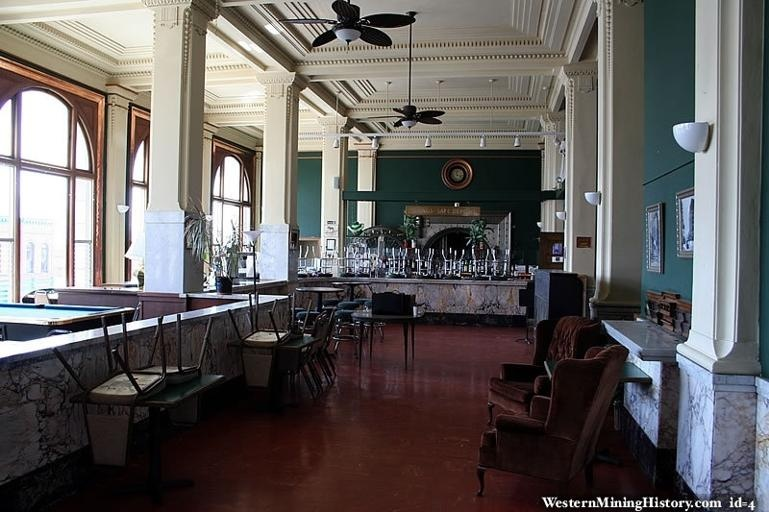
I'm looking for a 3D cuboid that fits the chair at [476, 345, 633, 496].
[{"bbox_3d":[1.611,1.549,5.424,1.306,1.409,1.404,4,-4,-31],"label":"chair"}]

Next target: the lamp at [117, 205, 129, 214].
[{"bbox_3d":[-5.921,-1.072,12.582,0.346,0.142,0.356,1,-2,-10],"label":"lamp"}]

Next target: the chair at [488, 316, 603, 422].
[{"bbox_3d":[1.804,1.368,6.329,1.113,1.352,1.023,0,-3,-3],"label":"chair"}]

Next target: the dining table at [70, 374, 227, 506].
[{"bbox_3d":[-1.999,1.591,5.063,0.812,1.038,1.480,1,-2,-1],"label":"dining table"}]

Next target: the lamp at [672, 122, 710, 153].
[{"bbox_3d":[2.657,-1.023,4.836,0.251,0.236,0.266,-2,7,-8],"label":"lamp"}]

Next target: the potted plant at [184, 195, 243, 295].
[{"bbox_3d":[-2.789,-0.217,9.515,1.227,2.076,1.178,-2,4,-23],"label":"potted plant"}]
